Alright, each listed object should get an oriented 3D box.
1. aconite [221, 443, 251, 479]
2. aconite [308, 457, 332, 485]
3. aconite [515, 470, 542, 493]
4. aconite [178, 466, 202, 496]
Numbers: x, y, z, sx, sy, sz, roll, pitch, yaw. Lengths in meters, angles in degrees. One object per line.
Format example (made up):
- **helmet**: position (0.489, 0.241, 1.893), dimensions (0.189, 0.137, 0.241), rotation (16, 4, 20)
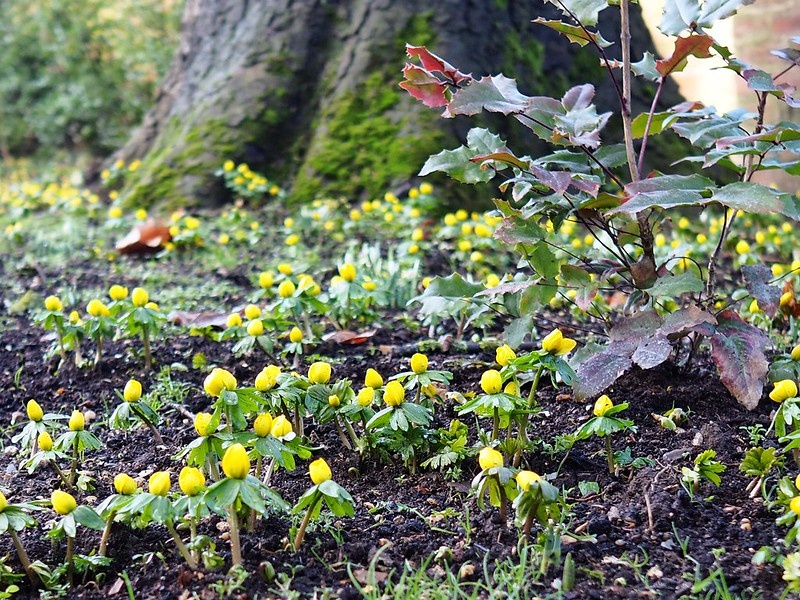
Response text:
- **aconite**: position (-0.567, 0.542, 3.447), dimensions (0.090, 0.134, 0.077), rotation (-12, 25, -3)
- **aconite**: position (-0.279, 0.597, 3.486), dimensions (0.060, 0.100, 0.058), rotation (-17, 26, -13)
- **aconite**: position (0.441, 0.624, 3.428), dimensions (0.053, 0.069, 0.083), rotation (-10, 51, 16)
- **aconite**: position (-0.721, 0.619, 3.473), dimensions (0.080, 0.083, 0.090), rotation (-20, 27, -17)
